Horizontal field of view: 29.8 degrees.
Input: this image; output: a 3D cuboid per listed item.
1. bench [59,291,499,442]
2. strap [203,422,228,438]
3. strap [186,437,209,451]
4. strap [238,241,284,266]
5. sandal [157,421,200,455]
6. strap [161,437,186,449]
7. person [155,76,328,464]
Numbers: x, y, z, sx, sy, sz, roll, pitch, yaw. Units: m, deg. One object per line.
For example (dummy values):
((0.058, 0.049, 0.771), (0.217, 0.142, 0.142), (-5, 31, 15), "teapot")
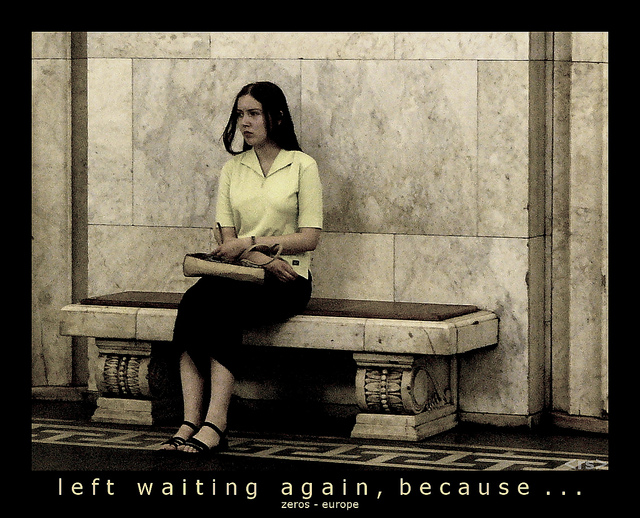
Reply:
((-0.289, 0.662, 7.649), (2.591, 0.793, 0.939), (1, 3, 23), "bench")
((-0.573, 0.957, 6.606), (0.108, 0.027, 0.080), (24, 0, -23), "strap")
((-0.666, 1.004, 6.528), (0.125, 0.036, 0.050), (18, 6, 38), "strap")
((-0.337, -0.039, 6.988), (0.203, 0.084, 0.123), (-17, 36, 25), "strap")
((-0.780, 0.989, 6.643), (0.108, 0.141, 0.331), (-4, -3, 39), "sandal")
((-0.799, 1.008, 6.563), (0.123, 0.046, 0.045), (6, -8, -28), "strap")
((-0.412, -0.013, 6.927), (0.737, 1.947, 1.220), (2, 11, 7), "person")
